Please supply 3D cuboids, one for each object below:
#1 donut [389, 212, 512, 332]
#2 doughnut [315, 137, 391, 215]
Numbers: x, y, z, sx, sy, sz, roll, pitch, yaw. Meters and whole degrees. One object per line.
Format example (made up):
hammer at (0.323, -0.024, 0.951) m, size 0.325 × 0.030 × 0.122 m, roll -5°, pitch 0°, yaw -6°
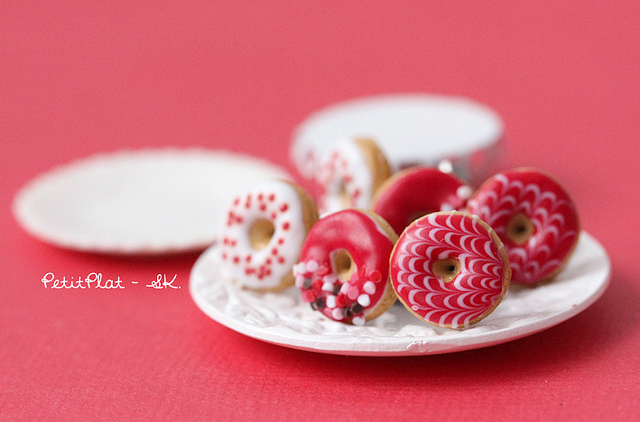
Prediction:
donut at (0.368, 0.180, 2.037) m, size 0.332 × 0.315 × 0.165 m, roll 2°, pitch 31°, yaw 14°
doughnut at (0.117, -0.122, 2.435) m, size 0.088 × 0.265 × 0.254 m, roll -4°, pitch 2°, yaw -36°
